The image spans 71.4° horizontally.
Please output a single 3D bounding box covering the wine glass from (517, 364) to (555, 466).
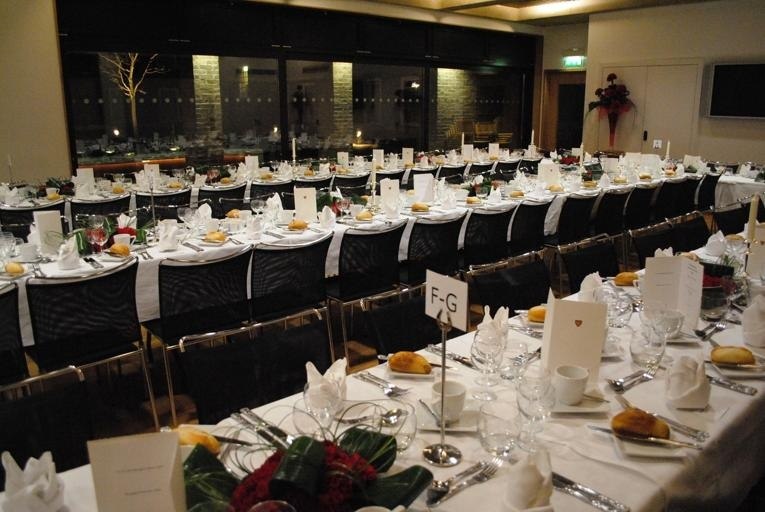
[{"bbox_3d":[0.547,0.553,1.954,0.175,0.254,0.114,-14,17,-40],"label":"wine glass"}]

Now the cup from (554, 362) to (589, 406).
[{"bbox_3d":[0.744,0.512,2.150,0.122,0.127,0.159,-4,10,-2],"label":"cup"}]

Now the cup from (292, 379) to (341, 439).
[{"bbox_3d":[-0.217,0.517,1.846,0.137,0.173,0.185,2,3,5],"label":"cup"}]

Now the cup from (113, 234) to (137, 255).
[{"bbox_3d":[-1.926,-0.087,3.959,0.123,0.153,0.197,3,3,25],"label":"cup"}]

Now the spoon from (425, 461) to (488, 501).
[{"bbox_3d":[0.251,0.764,1.808,0.048,0.054,0.288,20,23,38],"label":"spoon"}]

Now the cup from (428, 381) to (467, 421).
[{"bbox_3d":[0.260,0.546,2.084,0.127,0.130,0.148,-1,5,0],"label":"cup"}]

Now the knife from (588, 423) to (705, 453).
[{"bbox_3d":[0.968,0.669,1.959,0.401,0.052,0.046,6,-15,12],"label":"knife"}]

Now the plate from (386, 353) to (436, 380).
[{"bbox_3d":[0.122,0.484,2.356,0.145,0.074,0.114,7,4,14],"label":"plate"}]

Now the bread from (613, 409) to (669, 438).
[{"bbox_3d":[0.949,0.618,1.967,0.121,0.044,0.131,3,4,30],"label":"bread"}]

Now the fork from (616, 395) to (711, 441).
[{"bbox_3d":[1.086,0.623,2.041,0.039,0.047,0.295,-30,35,-34],"label":"fork"}]

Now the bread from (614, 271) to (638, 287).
[{"bbox_3d":[1.469,0.136,3.232,0.081,0.065,0.114,-2,6,16],"label":"bread"}]

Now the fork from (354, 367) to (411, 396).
[{"bbox_3d":[-0.005,0.547,2.297,0.085,0.045,0.288,-16,17,-39],"label":"fork"}]

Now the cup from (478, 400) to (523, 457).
[{"bbox_3d":[0.440,0.635,2.006,0.134,0.145,0.137,-3,18,1],"label":"cup"}]

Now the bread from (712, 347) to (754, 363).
[{"bbox_3d":[1.565,0.438,2.388,0.113,0.041,0.090,-1,2,23],"label":"bread"}]

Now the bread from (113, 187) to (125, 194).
[{"bbox_3d":[-3.061,-0.760,6.176,0.085,0.054,0.070,5,2,-15],"label":"bread"}]

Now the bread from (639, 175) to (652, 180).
[{"bbox_3d":[3.571,-1.062,7.222,0.095,0.044,0.086,2,4,32],"label":"bread"}]

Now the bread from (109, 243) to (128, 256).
[{"bbox_3d":[-1.907,-0.037,3.858,0.075,0.060,0.104,28,2,25],"label":"bread"}]

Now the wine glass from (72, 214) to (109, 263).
[{"bbox_3d":[-2.194,-0.129,4.073,0.282,0.343,0.293,0,5,-3],"label":"wine glass"}]

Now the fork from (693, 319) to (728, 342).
[{"bbox_3d":[1.631,0.370,2.654,0.302,0.045,0.079,-21,31,-40],"label":"fork"}]

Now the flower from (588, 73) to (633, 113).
[{"bbox_3d":[4.970,-3.532,11.589,0.888,0.810,0.878,-19,26,-40],"label":"flower"}]

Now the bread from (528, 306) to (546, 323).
[{"bbox_3d":[0.806,0.299,2.798,0.090,0.067,0.159,1,14,14],"label":"bread"}]
